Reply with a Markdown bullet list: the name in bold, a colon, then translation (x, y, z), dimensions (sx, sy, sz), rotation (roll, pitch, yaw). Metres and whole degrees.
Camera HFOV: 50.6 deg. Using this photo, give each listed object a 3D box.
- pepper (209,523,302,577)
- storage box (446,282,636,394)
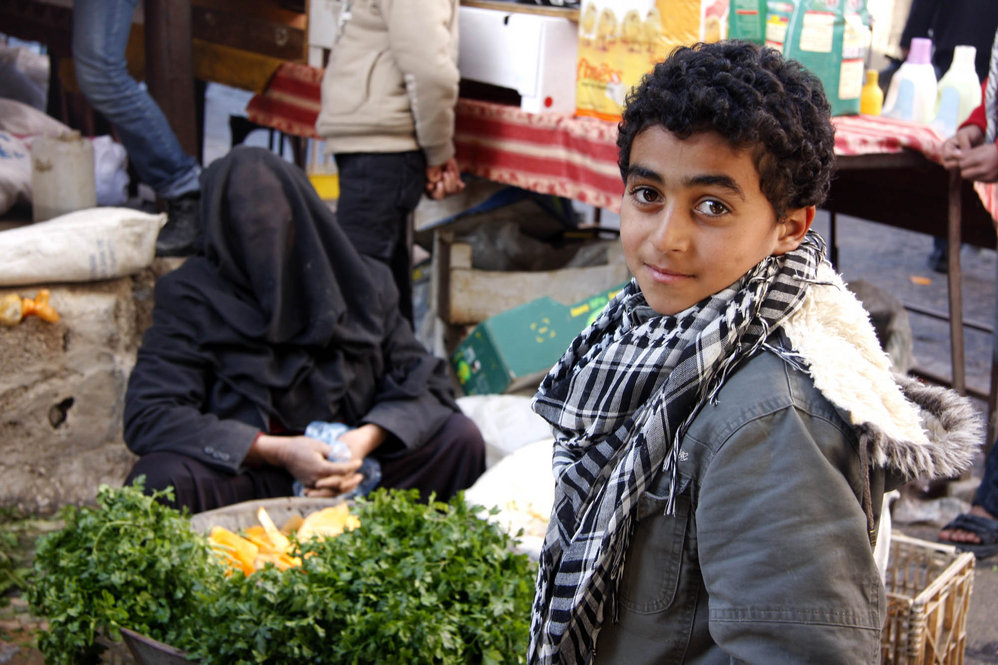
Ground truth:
- **pepper**: translation (-0.704, 0.614, 3.053), dimensions (0.254, 0.106, 0.290), rotation (0, 10, -12)
- **storage box**: translation (0.180, 0.036, 4.835), dimensions (0.353, 0.407, 0.946), rotation (-5, -6, 30)
